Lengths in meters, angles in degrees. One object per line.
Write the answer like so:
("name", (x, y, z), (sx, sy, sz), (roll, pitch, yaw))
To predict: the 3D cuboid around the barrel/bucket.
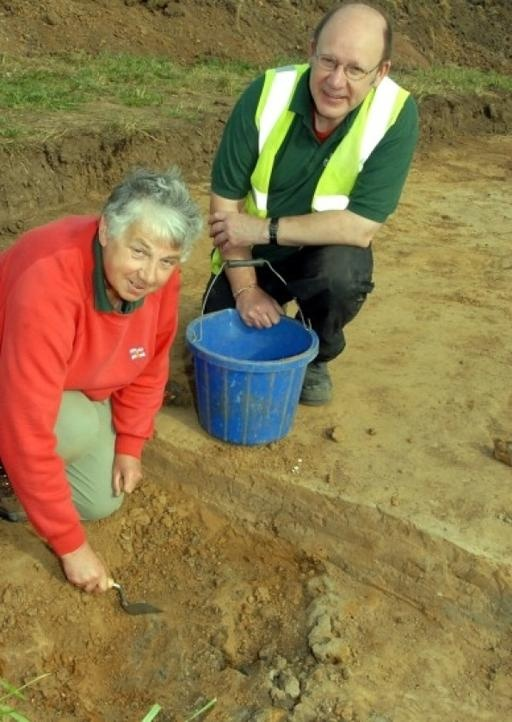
("barrel/bucket", (-0.049, -0.042, 2.988), (0.609, 0.675, 0.537), (1, 22, 1))
